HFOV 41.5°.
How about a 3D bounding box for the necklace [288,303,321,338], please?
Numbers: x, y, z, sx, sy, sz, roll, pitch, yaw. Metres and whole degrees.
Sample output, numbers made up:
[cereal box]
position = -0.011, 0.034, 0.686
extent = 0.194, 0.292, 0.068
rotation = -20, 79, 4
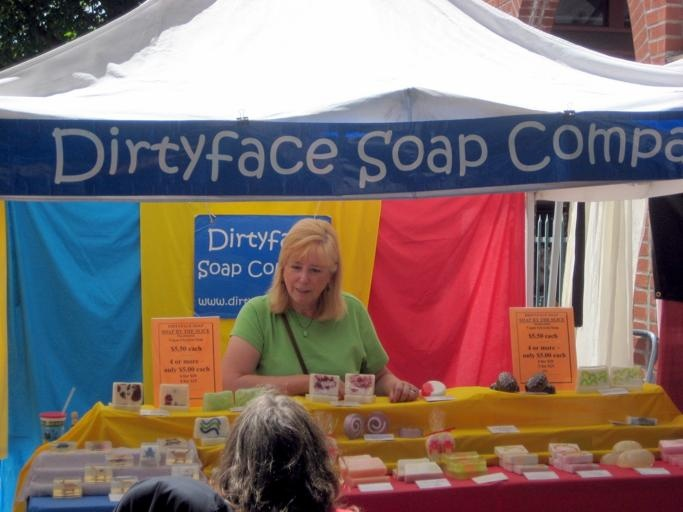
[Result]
[necklace]
position = -0.205, 0.363, 5.121
extent = 0.145, 0.109, 0.204
rotation = 2, -4, -9

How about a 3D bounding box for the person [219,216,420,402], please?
[person]
position = -0.193, 0.364, 5.472
extent = 1.300, 1.167, 0.931
rotation = 2, -11, -23
